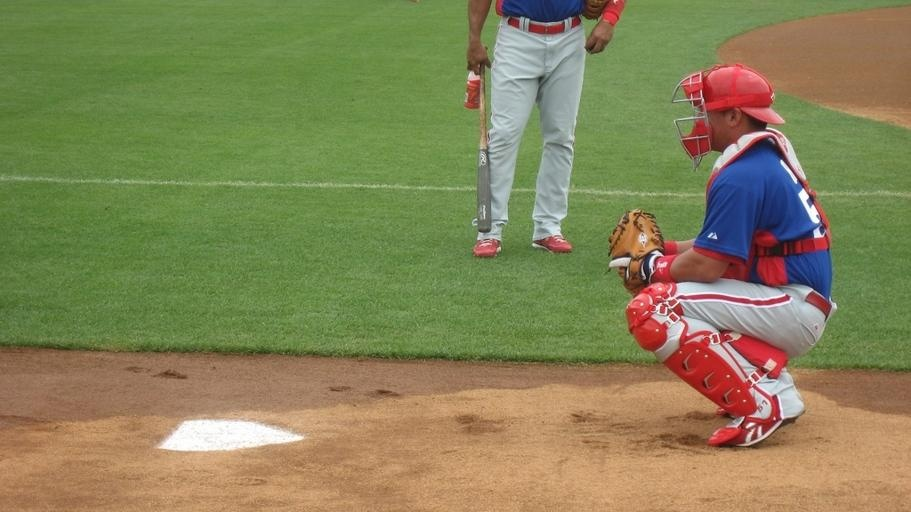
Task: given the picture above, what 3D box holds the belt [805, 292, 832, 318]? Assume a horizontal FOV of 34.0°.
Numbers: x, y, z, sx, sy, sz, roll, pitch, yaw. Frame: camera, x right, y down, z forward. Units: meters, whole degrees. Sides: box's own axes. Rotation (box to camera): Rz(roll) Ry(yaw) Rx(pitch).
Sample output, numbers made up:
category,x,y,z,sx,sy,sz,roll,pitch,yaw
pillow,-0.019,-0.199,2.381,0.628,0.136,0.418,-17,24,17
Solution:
category,x,y,z,sx,sy,sz,roll,pitch,yaw
belt,3.905,0.492,16.034,0.300,0.178,0.243,42,20,20
